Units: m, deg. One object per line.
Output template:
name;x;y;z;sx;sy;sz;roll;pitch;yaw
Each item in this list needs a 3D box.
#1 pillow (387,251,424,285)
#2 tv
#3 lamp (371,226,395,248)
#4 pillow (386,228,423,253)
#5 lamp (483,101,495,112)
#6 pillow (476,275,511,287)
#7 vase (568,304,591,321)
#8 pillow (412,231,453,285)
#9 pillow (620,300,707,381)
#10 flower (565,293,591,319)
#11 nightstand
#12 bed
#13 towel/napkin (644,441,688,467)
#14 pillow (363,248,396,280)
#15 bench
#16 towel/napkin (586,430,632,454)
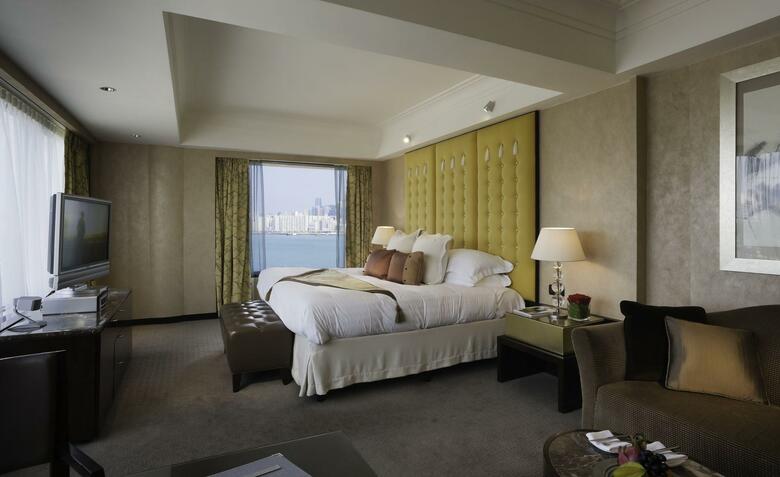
pillow;0.192;0.367;6.132;0.145;0.240;0.375;10;-10;-39
tv;-3.154;0.031;5.149;0.251;1.070;1.195;0;1;-16
lamp;-0.116;-0.024;7.994;0.341;0.306;0.336;1;6;3
pillow;0.174;-0.060;6.794;0.284;0.256;0.647;-11;2;-17
lamp;1.172;-1.575;6.129;0.083;0.137;0.174;-4;4;-43
pillow;1.242;0.504;6.054;0.279;0.067;0.197;-6;16;-1
vase;1.925;0.747;5.217;0.181;0.173;0.180;6;-7;-40
pillow;0.508;0.259;6.232;0.310;0.515;0.561;-6;-2;-37
pillow;2.218;0.874;4.260;0.681;0.655;0.248;2;-19;-8
flower;1.905;0.680;5.244;0.231;0.251;0.248;0;-2;36
nightstand;1.748;1.092;5.299;0.964;0.767;1.022;-2;3;-28
bed;-0.013;0.800;5.761;1.898;1.007;1.946;0;1;-21
towel/napkin;1.900;1.494;3.568;0.235;0.106;0.216;-2;3;-30
pillow;-0.133;0.337;6.513;0.128;0.240;0.361;17;-13;-32
bench;-1.439;1.078;5.494;0.666;0.617;1.271;1;2;-25
towel/napkin;1.559;1.447;3.662;0.157;0.054;0.154;-2;4;-26
